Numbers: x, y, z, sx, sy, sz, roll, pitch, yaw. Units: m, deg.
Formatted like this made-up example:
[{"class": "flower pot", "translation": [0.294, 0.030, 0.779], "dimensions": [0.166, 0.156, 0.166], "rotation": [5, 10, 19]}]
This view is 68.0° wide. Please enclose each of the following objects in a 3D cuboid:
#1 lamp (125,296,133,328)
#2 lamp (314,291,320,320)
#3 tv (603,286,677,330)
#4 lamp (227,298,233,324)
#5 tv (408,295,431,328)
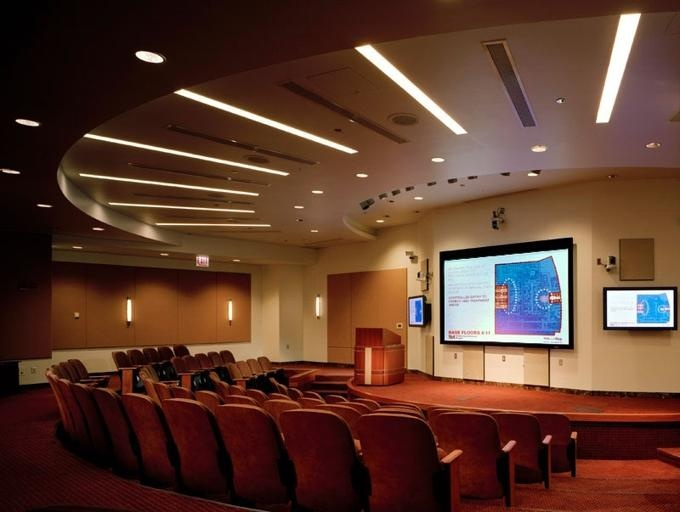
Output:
[{"class": "lamp", "translation": [-6.061, 1.590, 14.441], "dimensions": [0.196, 0.793, 0.100], "rotation": [1, -7, -41]}, {"class": "lamp", "translation": [-0.754, 1.676, 16.799], "dimensions": [0.097, 0.841, 0.281], "rotation": [1, -8, -41]}, {"class": "tv", "translation": [5.642, 0.997, 9.426], "dimensions": [1.202, 0.789, 0.060], "rotation": [-7, -6, 17]}, {"class": "lamp", "translation": [-3.631, 1.838, 16.582], "dimensions": [0.055, 0.760, 0.251], "rotation": [-9, -7, 42]}, {"class": "tv", "translation": [2.073, 1.436, 13.029], "dimensions": [0.241, 0.678, 0.777], "rotation": [2, -6, -13]}]
